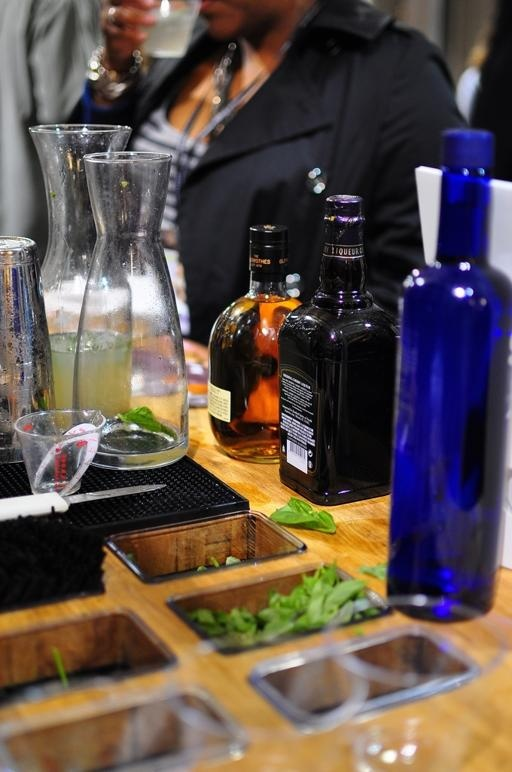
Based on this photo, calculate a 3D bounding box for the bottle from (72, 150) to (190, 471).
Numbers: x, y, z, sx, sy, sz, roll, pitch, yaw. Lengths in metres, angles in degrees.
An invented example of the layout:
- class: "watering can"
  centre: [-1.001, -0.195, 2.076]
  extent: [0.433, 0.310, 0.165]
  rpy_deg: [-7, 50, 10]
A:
- class: "bottle"
  centre: [-0.134, -0.076, 0.713]
  extent: [0.125, 0.334, 0.079]
  rpy_deg: [0, 15, -13]

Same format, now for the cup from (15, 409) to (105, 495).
- class: "cup"
  centre: [-0.193, 0.064, 0.654]
  extent: [0.085, 0.074, 0.089]
  rpy_deg: [1, 2, 0]

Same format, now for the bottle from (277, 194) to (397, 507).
- class: "bottle"
  centre: [0.083, -0.030, 0.648]
  extent: [0.123, 0.302, 0.079]
  rpy_deg: [4, 15, 2]

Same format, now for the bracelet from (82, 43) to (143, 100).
- class: "bracelet"
  centre: [-0.341, -0.733, 1.561]
  extent: [0.120, 0.069, 0.141]
  rpy_deg: [4, 40, 5]
